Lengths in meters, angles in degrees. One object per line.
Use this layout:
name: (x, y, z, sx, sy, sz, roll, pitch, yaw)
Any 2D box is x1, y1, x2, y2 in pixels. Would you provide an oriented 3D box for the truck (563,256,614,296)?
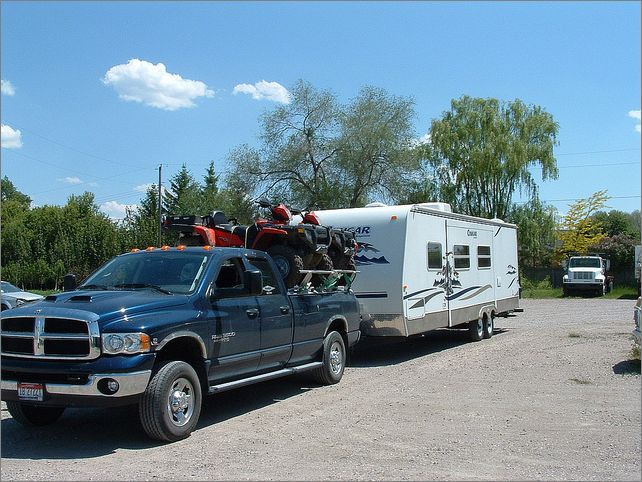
truck: (16.505, 2.126, 33.864, 2.513, 2.600, 2.544, -2, -2, 25)

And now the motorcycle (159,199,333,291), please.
motorcycle: (-1.324, 0.134, 10.363, 2.659, 1.644, 1.629, 0, -2, 17)

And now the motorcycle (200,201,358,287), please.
motorcycle: (-0.967, 0.146, 10.466, 2.541, 1.335, 1.586, -3, -4, 30)
